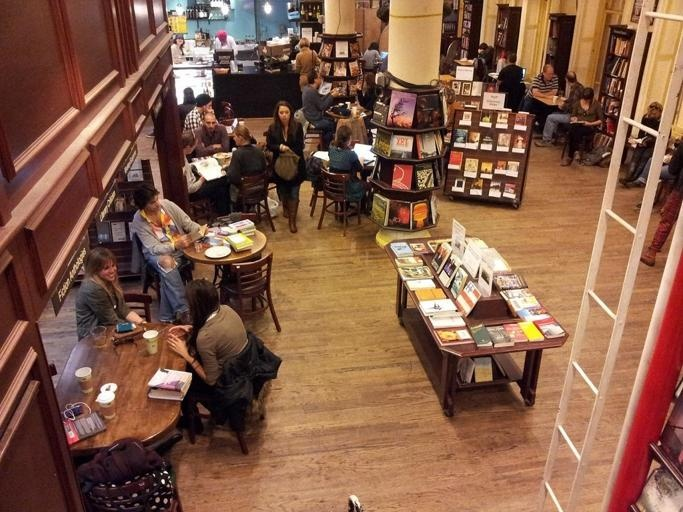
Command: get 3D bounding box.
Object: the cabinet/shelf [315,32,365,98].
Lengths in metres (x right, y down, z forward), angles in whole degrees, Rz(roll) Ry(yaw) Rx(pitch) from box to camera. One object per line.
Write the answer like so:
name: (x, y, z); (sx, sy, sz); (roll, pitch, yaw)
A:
cabinet/shelf: (-0.210, -4.960, 12.616); (1.399, 1.887, 1.423); (-6, 24, -13)

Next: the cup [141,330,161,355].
cup: (-1.667, 0.746, 4.353); (0.180, 0.201, 0.183); (1, 18, 0)

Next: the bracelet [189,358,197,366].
bracelet: (-1.305, 0.936, 4.316); (0.045, 0.011, 0.045); (-21, 34, -40)

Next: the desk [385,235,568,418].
desk: (1.355, 0.771, 5.834); (1.337, 1.119, 2.674); (-3, 15, -7)

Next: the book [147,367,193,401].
book: (-1.418, 1.052, 4.024); (0.335, 0.118, 0.296); (5, 28, 15)

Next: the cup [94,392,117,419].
cup: (-1.805, 1.153, 3.746); (0.109, 0.158, 0.157); (-13, 39, -22)

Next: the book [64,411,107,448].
book: (-1.926, 1.273, 3.680); (0.254, 0.075, 0.240); (-20, 32, -30)

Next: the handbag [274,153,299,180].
handbag: (-0.882, -1.441, 7.804); (0.330, 0.399, 0.198); (6, 32, 1)

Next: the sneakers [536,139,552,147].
sneakers: (4.658, -2.615, 11.324); (0.274, 0.111, 0.163); (4, 40, 7)

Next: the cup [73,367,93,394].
cup: (-2.052, 0.990, 3.948); (0.110, 0.206, 0.128); (15, 32, 32)

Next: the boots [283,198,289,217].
boots: (-0.987, -0.828, 8.420); (0.097, 0.329, 0.176); (2, 8, 6)

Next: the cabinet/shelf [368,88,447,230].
cabinet/shelf: (0.968, -1.427, 7.274); (1.348, 2.066, 1.396); (9, 32, 15)

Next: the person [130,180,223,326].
person: (-1.874, -0.065, 5.817); (0.983, 1.460, 1.221); (-10, 28, -23)
